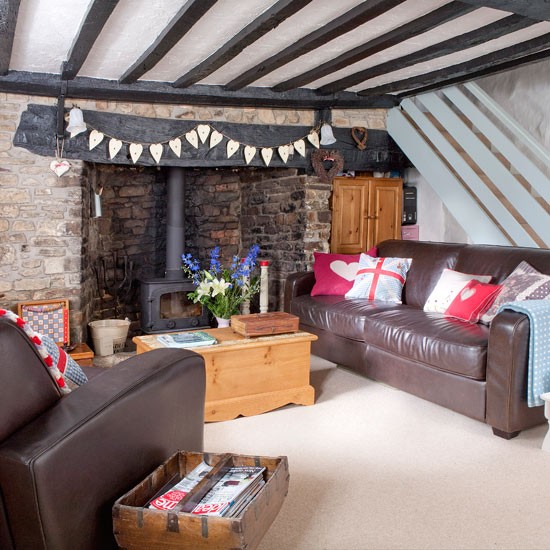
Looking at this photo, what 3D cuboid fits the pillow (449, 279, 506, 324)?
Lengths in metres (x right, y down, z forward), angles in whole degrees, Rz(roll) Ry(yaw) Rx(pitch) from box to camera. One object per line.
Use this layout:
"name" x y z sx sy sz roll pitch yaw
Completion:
"pillow" 1.334 0.178 3.241 0.099 0.291 0.318 37 -2 -23

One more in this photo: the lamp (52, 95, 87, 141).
"lamp" -1.737 -1.328 4.083 0.236 0.345 0.152 6 10 0

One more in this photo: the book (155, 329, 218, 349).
"book" -0.552 0.407 3.044 0.315 0.042 0.267 -1 8 -25

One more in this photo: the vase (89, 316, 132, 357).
"vase" -1.628 0.594 4.576 0.514 0.380 0.428 2 9 -18

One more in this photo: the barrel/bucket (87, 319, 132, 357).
"barrel/bucket" -1.538 0.583 4.469 0.351 0.278 0.367 -1 0 0

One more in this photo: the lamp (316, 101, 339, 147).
"lamp" 0.550 -1.572 5.139 0.231 0.409 0.449 1 7 7

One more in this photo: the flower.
"flower" -0.470 0.132 4.400 0.694 0.493 0.607 -16 -14 10

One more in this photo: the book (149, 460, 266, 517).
"book" -0.221 0.687 1.537 0.195 0.039 0.181 -1 6 12

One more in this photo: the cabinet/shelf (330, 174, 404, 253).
"cabinet/shelf" 0.994 -0.675 5.373 1.190 0.960 0.421 -1 2 -16

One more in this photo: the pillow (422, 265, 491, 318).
"pillow" 1.327 0.149 3.540 0.114 0.327 0.369 33 -5 -24

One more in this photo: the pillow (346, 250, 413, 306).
"pillow" 0.910 0.044 4.111 0.515 0.411 0.148 7 -20 39

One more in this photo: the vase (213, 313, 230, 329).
"vase" -0.459 0.416 4.251 0.160 0.100 0.154 -1 6 -16

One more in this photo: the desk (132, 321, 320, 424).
"desk" -0.013 0.750 3.272 1.194 0.483 0.643 -18 -28 34
